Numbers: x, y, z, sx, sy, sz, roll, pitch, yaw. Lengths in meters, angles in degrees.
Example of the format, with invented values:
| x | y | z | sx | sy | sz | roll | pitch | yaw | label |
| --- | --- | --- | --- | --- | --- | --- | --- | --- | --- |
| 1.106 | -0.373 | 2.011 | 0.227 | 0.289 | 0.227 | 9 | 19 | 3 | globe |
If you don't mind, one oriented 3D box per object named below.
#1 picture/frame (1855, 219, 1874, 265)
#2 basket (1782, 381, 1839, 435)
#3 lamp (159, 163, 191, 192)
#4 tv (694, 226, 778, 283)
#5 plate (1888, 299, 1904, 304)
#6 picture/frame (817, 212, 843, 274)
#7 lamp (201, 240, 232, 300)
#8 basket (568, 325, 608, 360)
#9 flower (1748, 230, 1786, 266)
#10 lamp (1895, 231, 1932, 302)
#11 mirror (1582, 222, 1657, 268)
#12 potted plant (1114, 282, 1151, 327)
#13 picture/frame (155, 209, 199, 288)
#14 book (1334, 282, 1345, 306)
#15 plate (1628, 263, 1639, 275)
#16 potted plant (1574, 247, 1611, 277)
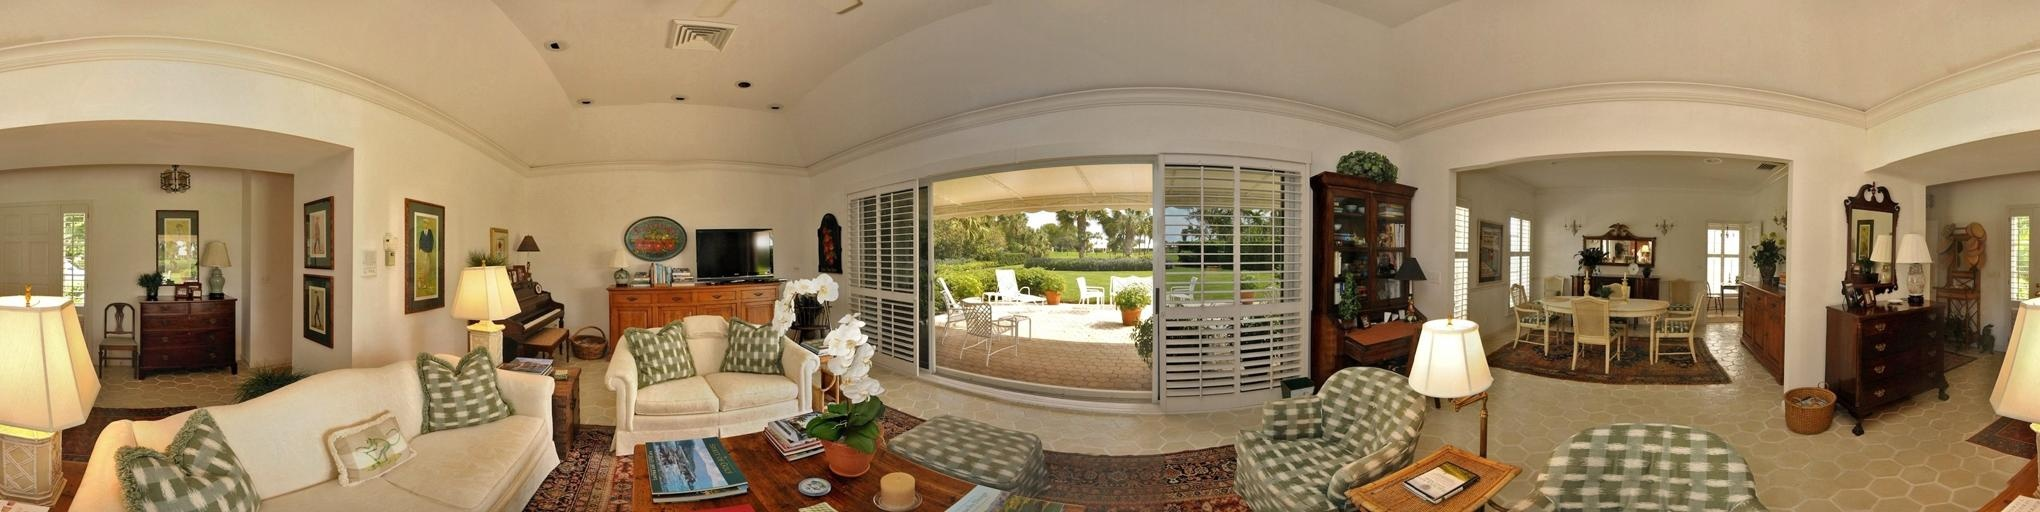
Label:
| x | y | z | sx | sy | sz | roll | pitch | yaw | label |
| --- | --- | --- | --- | --- | --- | --- | --- | --- | --- |
| 28.282 | -0.499 | 25.796 | 0.790 | 1.388 | 0.129 | -1 | 0 | -18 | picture/frame |
| 25.673 | 5.063 | 25.067 | 1.778 | 1.473 | 0.461 | -1 | 0 | -9 | basket |
| -28.910 | -2.668 | 26.444 | 0.923 | 0.885 | 0.171 | -1 | 0 | 0 | lamp |
| -10.534 | -0.035 | 28.278 | 4.137 | 1.510 | 0.396 | 0 | -1 | -4 | tv |
| 29.428 | 1.539 | 25.953 | 0.329 | 0.041 | 0.262 | -5 | 6 | -26 | plate |
| -6.847 | -0.464 | 27.821 | 1.145 | 2.162 | 0.213 | -2 | 0 | 38 | picture/frame |
| -27.620 | 0.484 | 26.547 | 0.843 | 1.992 | 0.245 | -2 | 0 | 1 | lamp |
| -15.946 | 3.121 | 28.151 | 1.690 | 0.920 | 1.633 | 2 | 7 | -19 | basket |
| 27.611 | -0.261 | 28.489 | 0.832 | 1.176 | 1.257 | -1 | 0 | 38 | flower |
| 30.004 | 0.303 | 26.001 | 1.374 | 2.240 | 0.715 | -1 | 0 | -44 | lamp |
| 23.419 | -0.467 | 30.052 | 3.464 | 1.325 | 0.105 | 0 | 12 | 13 | mirror |
| 4.530 | 1.936 | 30.585 | 1.222 | 1.563 | 0.890 | -1 | 0 | -44 | potted plant |
| -28.946 | -0.307 | 26.561 | 1.511 | 2.474 | 0.156 | -1 | 0 | 1 | picture/frame |
| 10.704 | 1.271 | 25.737 | 0.373 | 0.694 | 0.149 | -2 | 0 | 19 | book |
| 23.932 | 0.548 | 29.973 | 0.443 | 0.390 | 0.081 | -1 | 0 | -16 | plate |
| 22.214 | 0.199 | 29.913 | 1.077 | 1.088 | 0.577 | -1 | 0 | 4 | potted plant |
